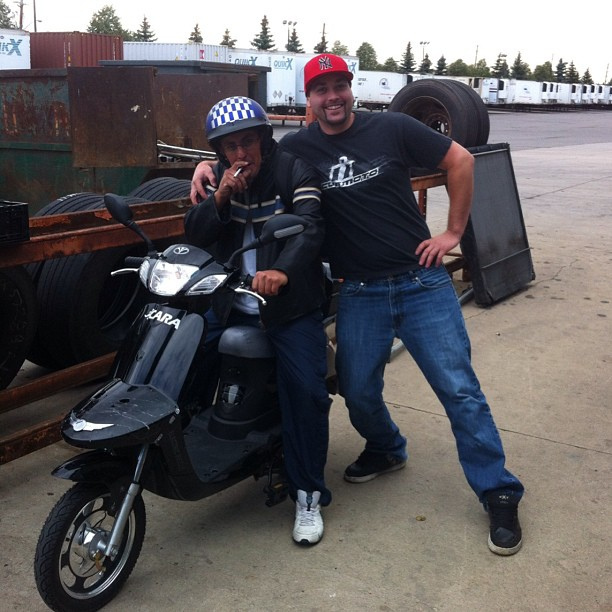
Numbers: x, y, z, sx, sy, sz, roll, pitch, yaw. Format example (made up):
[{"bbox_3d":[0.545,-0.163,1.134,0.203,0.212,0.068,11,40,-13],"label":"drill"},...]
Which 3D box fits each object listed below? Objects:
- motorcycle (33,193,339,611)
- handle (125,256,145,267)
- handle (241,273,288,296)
[{"bbox_3d":[-0.501,0.385,2.070,0.621,1.435,1.197,15,26,42],"label":"motorcycle"},{"bbox_3d":[-0.683,-0.175,2.268,0.081,0.033,0.100,-4,12,-20],"label":"handle"},{"bbox_3d":[-0.154,-0.079,2.061,0.068,0.057,0.216,-2,9,-31],"label":"handle"}]
